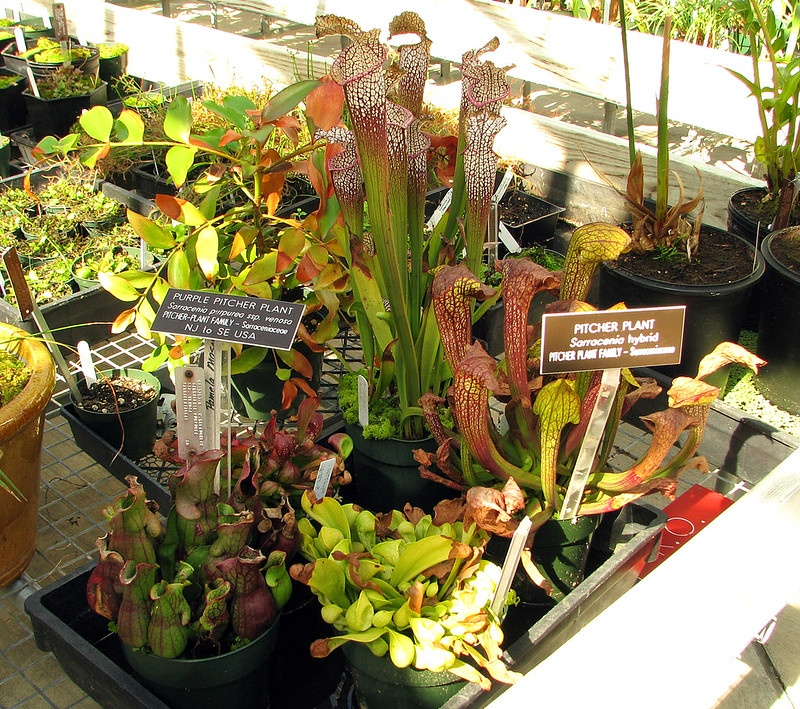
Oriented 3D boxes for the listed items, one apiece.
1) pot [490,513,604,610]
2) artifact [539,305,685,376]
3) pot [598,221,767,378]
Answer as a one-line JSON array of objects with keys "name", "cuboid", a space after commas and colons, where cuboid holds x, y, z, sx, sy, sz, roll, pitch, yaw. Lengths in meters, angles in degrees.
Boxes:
[{"name": "pot", "cuboid": [0.370, 0.520, 1.654, 0.305, 0.202, 0.262, 2, 29, 11]}, {"name": "artifact", "cuboid": [0.414, -0.020, 1.236, 0.308, 0.185, 0.094, -3, 32, -11]}, {"name": "pot", "cuboid": [1.062, -0.314, 2.543, 0.671, 0.453, 0.645, -1, 30, 1]}]
